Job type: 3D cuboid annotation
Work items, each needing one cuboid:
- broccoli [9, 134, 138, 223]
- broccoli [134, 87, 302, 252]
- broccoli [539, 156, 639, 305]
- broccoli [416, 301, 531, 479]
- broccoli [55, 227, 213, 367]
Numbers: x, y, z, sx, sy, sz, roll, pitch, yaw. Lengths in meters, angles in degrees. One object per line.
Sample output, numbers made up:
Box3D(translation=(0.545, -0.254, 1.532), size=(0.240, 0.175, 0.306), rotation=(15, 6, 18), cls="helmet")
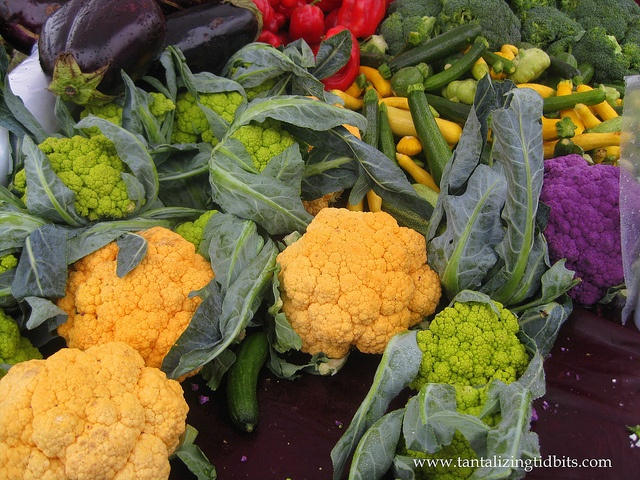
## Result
Box3D(translation=(-1.014, -0.260, 2.431), size=(0.413, 0.181, 0.425), rotation=(-31, 84, -15), cls="broccoli")
Box3D(translation=(-0.301, -0.346, 2.460), size=(0.539, 0.240, 0.563), rotation=(-23, 67, -6), cls="broccoli")
Box3D(translation=(1.223, -0.033, 2.601), size=(0.498, 0.252, 0.612), rotation=(-4, 86, 14), cls="broccoli")
Box3D(translation=(0.595, 0.620, 2.344), size=(0.457, 0.510, 0.593), rotation=(14, 41, 8), cls="broccoli")
Box3D(translation=(-0.759, 0.295, 2.540), size=(0.590, 0.266, 0.557), rotation=(-25, 73, -15), cls="broccoli")
